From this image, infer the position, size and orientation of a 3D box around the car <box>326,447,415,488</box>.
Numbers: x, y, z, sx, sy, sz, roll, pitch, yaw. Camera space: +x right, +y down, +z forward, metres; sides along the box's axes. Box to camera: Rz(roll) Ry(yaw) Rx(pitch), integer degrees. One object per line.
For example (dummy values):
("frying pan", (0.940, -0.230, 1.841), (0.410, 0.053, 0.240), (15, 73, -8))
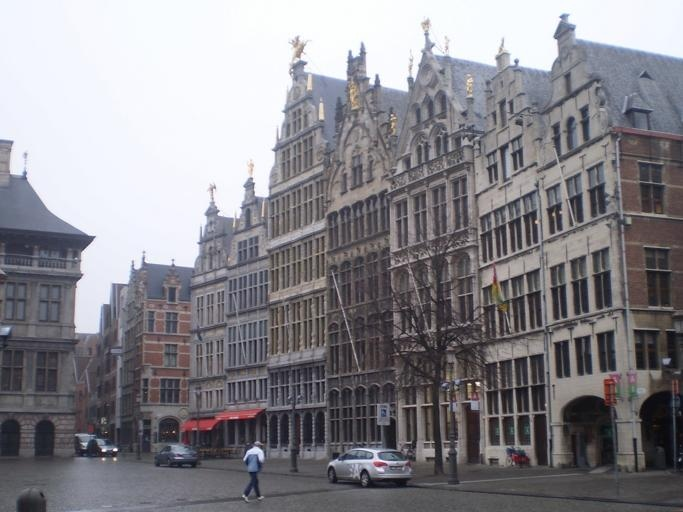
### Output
("car", (1.249, 10.697, 51.864), (4.124, 1.784, 1.649), (-8, -6, 42))

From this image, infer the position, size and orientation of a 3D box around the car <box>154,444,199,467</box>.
("car", (-11.691, 14.147, 72.062), (2.428, 1.621, 3.084), (-2, -5, -25))

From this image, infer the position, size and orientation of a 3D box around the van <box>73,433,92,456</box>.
("van", (-25.311, 18.265, 99.502), (1.378, 1.264, 2.359), (3, -14, -19))

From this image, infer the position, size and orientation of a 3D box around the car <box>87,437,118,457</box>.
("car", (-23.880, 18.630, 99.589), (1.726, 1.393, 2.906), (8, -18, -34))

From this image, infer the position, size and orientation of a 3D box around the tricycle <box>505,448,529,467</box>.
("tricycle", (10.484, 12.055, 61.128), (0.975, 0.513, 1.161), (3, -6, -14))
